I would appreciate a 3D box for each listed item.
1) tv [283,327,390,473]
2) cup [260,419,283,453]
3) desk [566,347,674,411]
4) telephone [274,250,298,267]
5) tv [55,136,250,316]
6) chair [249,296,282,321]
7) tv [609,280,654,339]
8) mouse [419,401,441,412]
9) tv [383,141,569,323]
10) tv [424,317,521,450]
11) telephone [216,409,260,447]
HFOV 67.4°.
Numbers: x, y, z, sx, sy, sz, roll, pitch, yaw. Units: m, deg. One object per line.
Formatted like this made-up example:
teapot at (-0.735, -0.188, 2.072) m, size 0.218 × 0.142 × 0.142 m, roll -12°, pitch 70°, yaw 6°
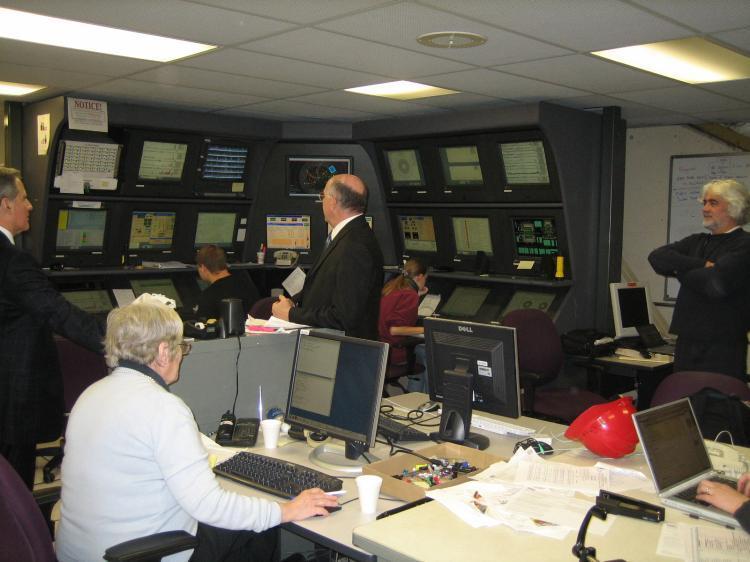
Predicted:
tv at (-0.178, 0.551, 2.486) m, size 0.567 × 0.553 × 0.327 m, roll 4°, pitch 1°, yaw 42°
cup at (-0.480, 0.714, 2.593) m, size 0.126 × 0.128 × 0.125 m, roll -1°, pitch 0°, yaw 0°
desk at (1.983, 0.757, 4.516) m, size 0.589 × 0.510 × 0.577 m, roll -9°, pitch 11°, yaw -43°
telephone at (-0.979, -0.246, 6.205) m, size 0.325 × 0.207 × 0.158 m, roll 0°, pitch -6°, yaw 4°
tv at (-2.079, -0.523, 5.081) m, size 1.777 × 1.434 × 0.614 m, roll -3°, pitch 13°, yaw -34°
chair at (-0.934, 0.229, 4.622) m, size 0.354 × 0.179 × 0.264 m, roll 0°, pitch 1°, yaw 15°
tv at (2.182, 0.250, 4.784) m, size 0.466 × 0.478 × 0.180 m, roll -7°, pitch 15°, yaw -31°
mouse at (0.308, 0.701, 3.110) m, size 0.101 × 0.034 × 0.071 m, roll -3°, pitch 7°, yaw -27°
tv at (1.016, -0.464, 5.332) m, size 0.602 × 1.618 × 1.809 m, roll -23°, pitch 17°, yaw -39°
tv at (0.455, 0.499, 2.633) m, size 0.519 × 0.553 × 0.233 m, roll 10°, pitch 18°, yaw 36°
telephone at (-0.653, 0.716, 2.673) m, size 0.210 × 0.072 × 0.205 m, roll 3°, pitch 22°, yaw -16°
